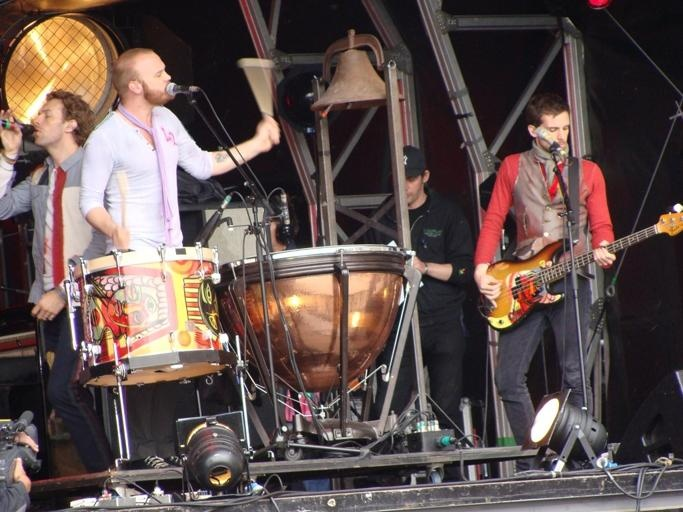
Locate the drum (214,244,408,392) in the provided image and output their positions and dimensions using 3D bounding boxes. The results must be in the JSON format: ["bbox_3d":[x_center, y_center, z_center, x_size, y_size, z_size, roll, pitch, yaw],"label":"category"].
[{"bbox_3d":[-0.127,0.402,6.297,0.728,0.660,0.819,-2,-7,1],"label":"drum"}]

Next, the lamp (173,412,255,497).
[{"bbox_3d":[-0.581,0.934,5.403,0.353,0.280,0.427,-5,15,-12],"label":"lamp"}]

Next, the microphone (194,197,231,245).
[{"bbox_3d":[-0.764,-0.217,6.757,0.044,0.320,0.046,31,-1,32],"label":"microphone"}]

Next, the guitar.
[{"bbox_3d":[1.370,0.128,6.991,1.055,0.712,0.269,-3,0,11],"label":"guitar"}]

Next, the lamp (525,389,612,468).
[{"bbox_3d":[1.144,0.891,5.882,0.393,0.418,0.290,12,-16,-17],"label":"lamp"}]

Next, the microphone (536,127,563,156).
[{"bbox_3d":[1.208,-0.673,6.742,0.130,0.174,0.265,-3,0,-3],"label":"microphone"}]

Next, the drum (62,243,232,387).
[{"bbox_3d":[-0.985,0.351,6.315,0.796,0.663,0.848,-8,-12,-2],"label":"drum"}]

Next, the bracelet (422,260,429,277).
[{"bbox_3d":[0.544,0.073,7.520,0.023,0.063,0.060,3,-35,0],"label":"bracelet"}]
